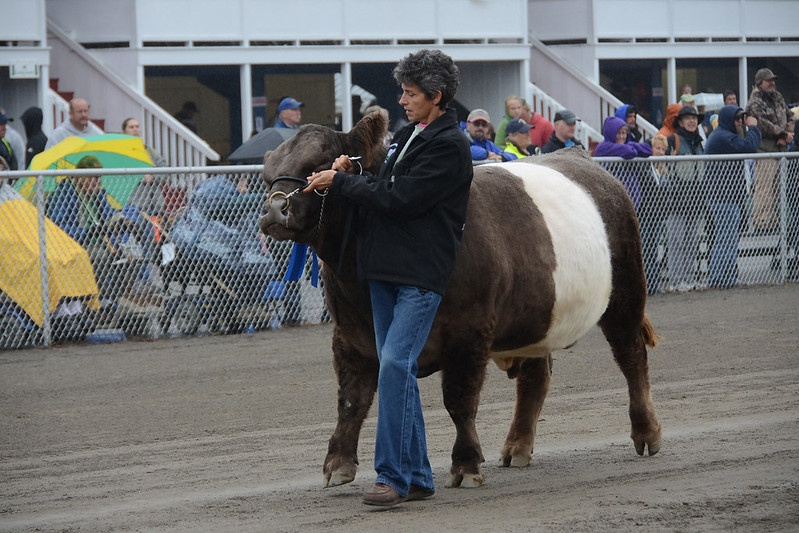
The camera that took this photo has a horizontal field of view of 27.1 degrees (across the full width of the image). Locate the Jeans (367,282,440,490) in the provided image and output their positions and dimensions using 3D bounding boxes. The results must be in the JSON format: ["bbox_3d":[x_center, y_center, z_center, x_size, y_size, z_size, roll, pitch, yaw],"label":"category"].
[{"bbox_3d":[0.059,1.359,18.647,0.732,2.412,0.322,-2,2,-2],"label":"Jeans"}]

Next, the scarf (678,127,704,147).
[{"bbox_3d":[4.739,-2.112,27.032,0.263,0.388,0.389,16,7,8],"label":"scarf"}]

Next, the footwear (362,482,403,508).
[{"bbox_3d":[-0.191,2.586,18.600,0.455,0.208,0.214,14,-18,-18],"label":"footwear"}]

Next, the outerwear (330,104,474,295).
[{"bbox_3d":[0.169,-0.670,18.548,1.775,2.252,1.551,5,-1,-11],"label":"outerwear"}]

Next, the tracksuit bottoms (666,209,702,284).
[{"bbox_3d":[4.403,-0.215,25.816,0.568,1.203,0.387,-3,2,-4],"label":"tracksuit bottoms"}]

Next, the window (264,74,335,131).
[{"bbox_3d":[-2.148,-3.352,34.353,1.760,1.365,0.123,-8,14,-25],"label":"window"}]
